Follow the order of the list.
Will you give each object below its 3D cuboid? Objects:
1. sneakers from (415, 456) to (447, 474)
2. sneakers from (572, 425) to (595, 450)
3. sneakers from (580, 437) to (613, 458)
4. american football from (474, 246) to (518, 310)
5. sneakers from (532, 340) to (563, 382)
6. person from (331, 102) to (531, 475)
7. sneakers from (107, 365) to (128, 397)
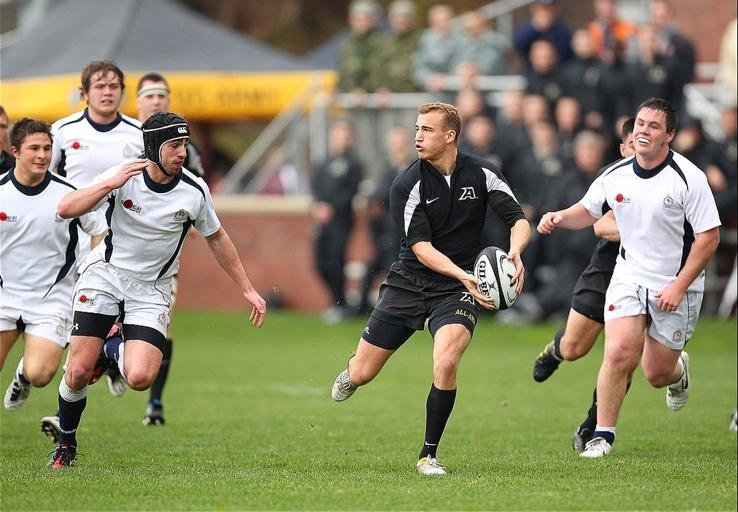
[{"bbox_3d":[0.506,1.705,7.400,0.247,0.122,0.217,0,2,3],"label":"sneakers"},{"bbox_3d":[1.939,1.675,8.287,0.136,0.235,0.160,21,-1,-15],"label":"sneakers"},{"bbox_3d":[1.953,1.663,7.851,0.274,0.121,0.144,6,30,-29],"label":"sneakers"},{"bbox_3d":[1.036,0.190,7.514,0.356,0.511,0.257,0,2,8],"label":"american football"},{"bbox_3d":[1.788,1.024,8.918,0.230,0.532,0.192,27,50,0],"label":"sneakers"},{"bbox_3d":[0.547,0.236,7.644,1.548,3.077,0.717,0,2,10],"label":"person"},{"bbox_3d":[-2.519,1.257,9.031,0.173,0.249,0.532,-9,-3,-11],"label":"sneakers"}]
